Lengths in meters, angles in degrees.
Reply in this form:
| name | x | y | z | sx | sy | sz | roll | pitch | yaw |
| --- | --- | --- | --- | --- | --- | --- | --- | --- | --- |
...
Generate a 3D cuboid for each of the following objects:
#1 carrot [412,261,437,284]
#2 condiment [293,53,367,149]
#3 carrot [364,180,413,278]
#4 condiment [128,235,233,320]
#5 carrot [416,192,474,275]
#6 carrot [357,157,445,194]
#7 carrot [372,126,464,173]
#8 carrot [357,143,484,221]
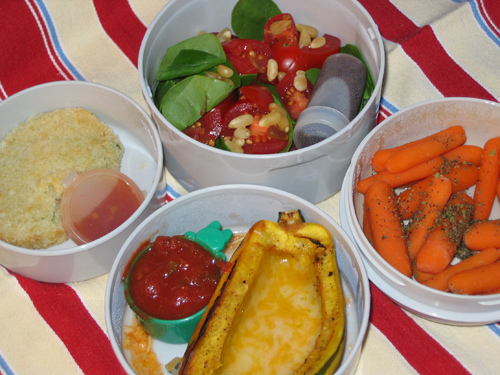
| name | x | y | z | sx | sy | sz | roll | pitch | yaw |
| --- | --- | --- | --- | --- | --- | --- | --- | --- | --- |
| carrot | 0.498 | 0.242 | 1.444 | 0.046 | 0.067 | 0.033 | -2 | 0 | 27 |
| condiment | 0.246 | -0.255 | 1.521 | 0.131 | 0.160 | 0.316 | 21 | 51 | 4 |
| carrot | 0.399 | 0.113 | 1.493 | 0.085 | 0.090 | 0.324 | -14 | 70 | 12 |
| condiment | -0.193 | 0.234 | 1.310 | 0.258 | 0.113 | 0.213 | 27 | 52 | 7 |
| carrot | 0.576 | 0.135 | 1.467 | 0.087 | 0.088 | 0.291 | 26 | 66 | 27 |
| carrot | 0.499 | -0.064 | 1.548 | 0.282 | 0.060 | 0.081 | -6 | 73 | -22 |
| carrot | 0.516 | -0.114 | 1.536 | 0.197 | 0.055 | 0.047 | -28 | 14 | 2 |
| carrot | 0.540 | 0.000 | 1.584 | 0.390 | 0.119 | 0.204 | -28 | 47 | 3 |
